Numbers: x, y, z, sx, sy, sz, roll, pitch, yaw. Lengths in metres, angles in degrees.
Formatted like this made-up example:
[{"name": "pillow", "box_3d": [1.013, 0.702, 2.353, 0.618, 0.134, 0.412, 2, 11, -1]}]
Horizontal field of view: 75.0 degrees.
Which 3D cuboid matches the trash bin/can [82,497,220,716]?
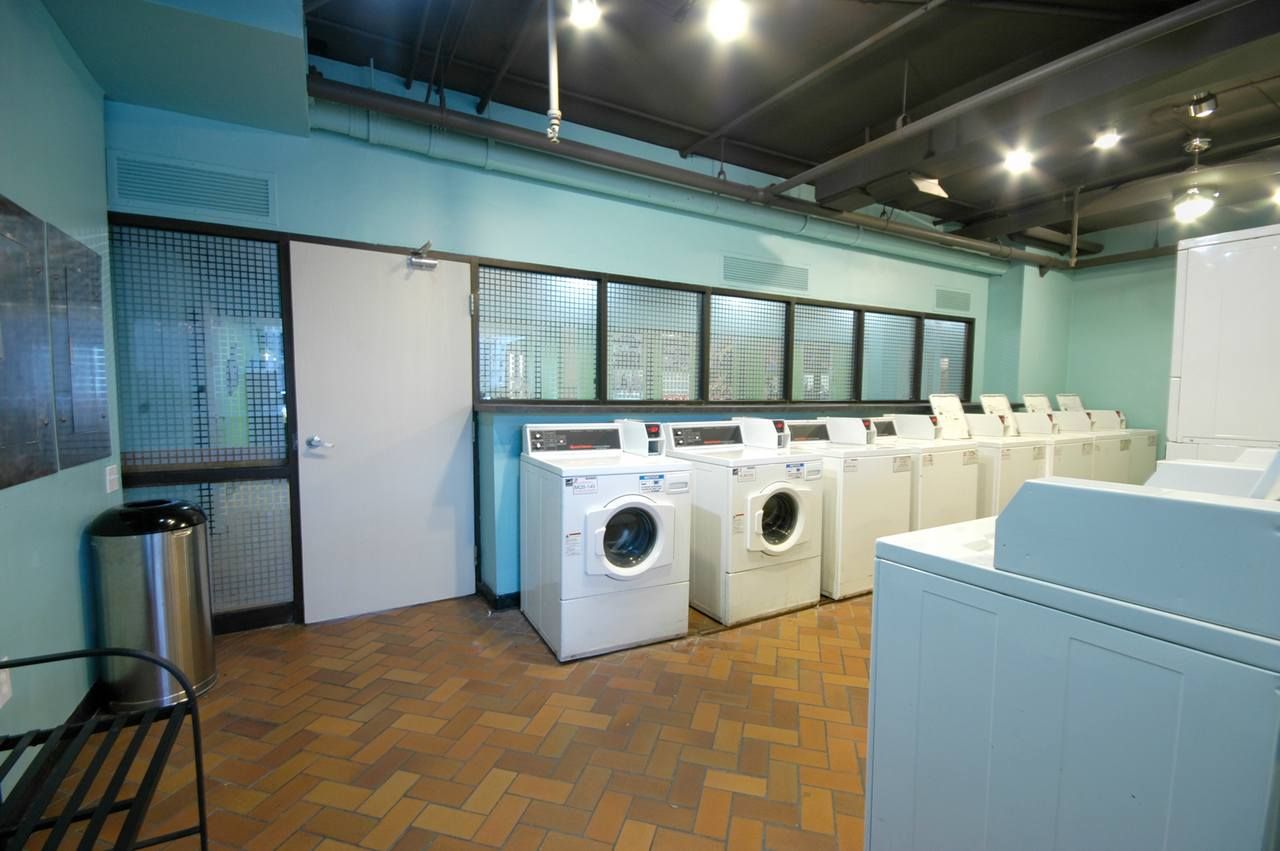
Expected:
[{"name": "trash bin/can", "box_3d": [-2.965, 1.109, 5.117, 0.654, 1.108, 0.631, -4, 3, -44]}]
